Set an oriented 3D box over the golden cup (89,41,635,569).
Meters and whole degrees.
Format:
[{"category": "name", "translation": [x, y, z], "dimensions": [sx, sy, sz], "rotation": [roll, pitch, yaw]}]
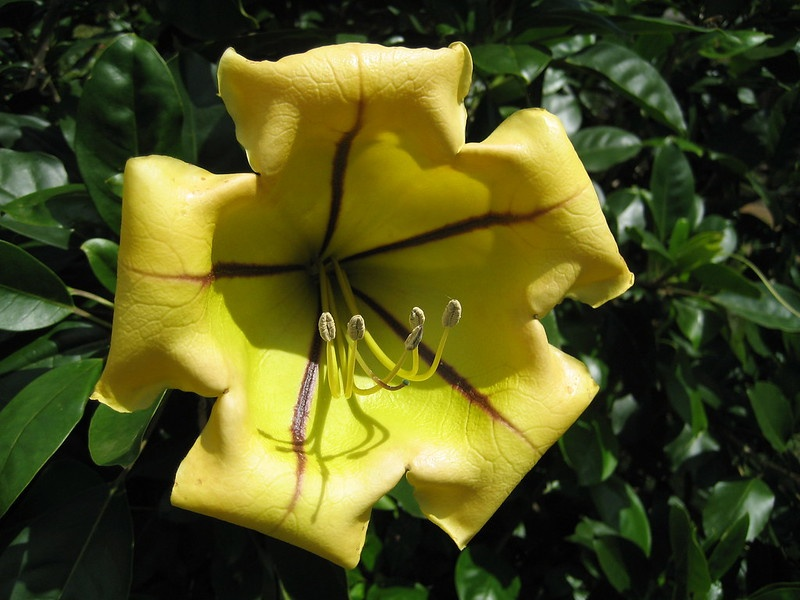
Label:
[{"category": "golden cup", "translation": [-0.069, -0.056, 2.368], "dimensions": [1.347, 1.283, 1.280], "rotation": [-2, 105, -8]}]
